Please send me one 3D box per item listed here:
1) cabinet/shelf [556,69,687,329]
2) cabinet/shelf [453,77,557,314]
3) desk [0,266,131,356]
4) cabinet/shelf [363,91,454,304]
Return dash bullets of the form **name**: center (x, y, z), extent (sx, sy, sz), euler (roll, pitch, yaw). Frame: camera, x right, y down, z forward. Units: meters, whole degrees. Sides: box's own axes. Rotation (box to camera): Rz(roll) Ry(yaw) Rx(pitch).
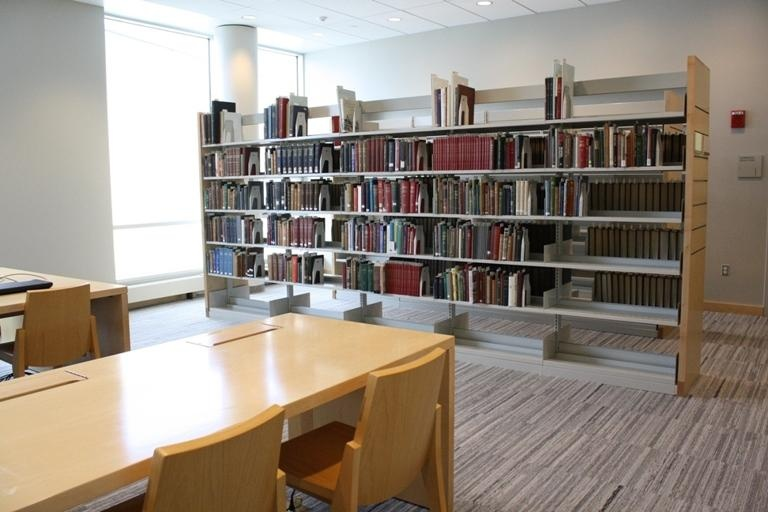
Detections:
- **cabinet/shelf**: center (2.406, -0.351, 5.524), extent (1.125, 2.727, 1.591), euler (6, 15, 20)
- **cabinet/shelf**: center (1.298, -0.587, 5.496), extent (1.186, 2.140, 0.724), euler (5, 15, 17)
- **desk**: center (-2.640, 0.466, 4.580), extent (0.867, 0.560, 0.911), euler (2, 4, 38)
- **cabinet/shelf**: center (0.347, -0.614, 6.196), extent (1.285, 1.904, 0.430), euler (6, 9, 39)
